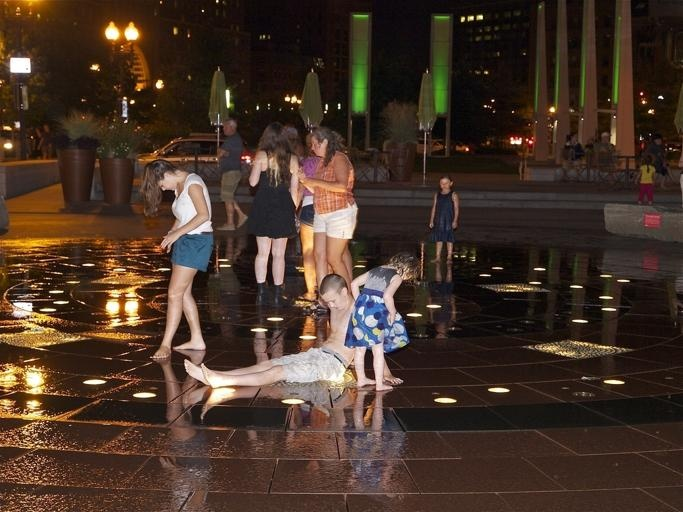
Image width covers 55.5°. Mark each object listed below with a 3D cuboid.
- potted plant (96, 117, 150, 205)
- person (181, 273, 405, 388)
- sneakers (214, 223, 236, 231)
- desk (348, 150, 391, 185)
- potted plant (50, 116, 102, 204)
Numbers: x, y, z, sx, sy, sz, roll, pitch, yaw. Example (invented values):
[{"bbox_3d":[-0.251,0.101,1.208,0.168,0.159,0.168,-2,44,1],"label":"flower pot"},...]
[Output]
[{"bbox_3d":[-6.447,-2.680,18.893,1.287,2.463,1.924,-2,7,-18],"label":"potted plant"},{"bbox_3d":[-0.521,0.538,5.519,1.435,0.733,1.072,-5,9,-28],"label":"person"},{"bbox_3d":[-2.648,-0.665,14.649,0.428,0.158,0.150,2,5,0],"label":"sneakers"},{"bbox_3d":[1.124,-3.607,26.605,1.842,1.235,1.760,-1,7,-2],"label":"desk"},{"bbox_3d":[-7.831,-2.841,19.114,1.335,2.297,1.143,-3,6,-20],"label":"potted plant"}]
